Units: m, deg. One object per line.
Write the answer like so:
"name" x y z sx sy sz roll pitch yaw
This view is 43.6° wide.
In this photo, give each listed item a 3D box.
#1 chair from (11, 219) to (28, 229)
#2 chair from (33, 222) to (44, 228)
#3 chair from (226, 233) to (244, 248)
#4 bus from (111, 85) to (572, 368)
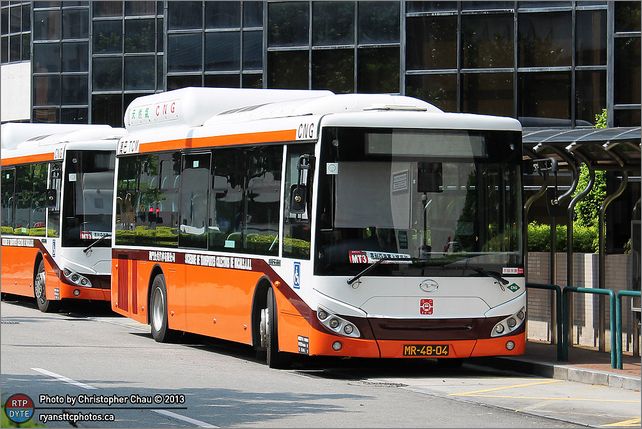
"chair" -8.821 0.290 23.517 0.509 0.171 0.322 5 3 43
"chair" -7.881 0.307 22.342 0.213 0.207 0.384 1 3 -37
"chair" -1.574 0.492 14.575 0.248 0.332 0.350 0 1 -43
"bus" -1.194 0.124 16.761 4.003 4.847 9.718 2 -1 -35
